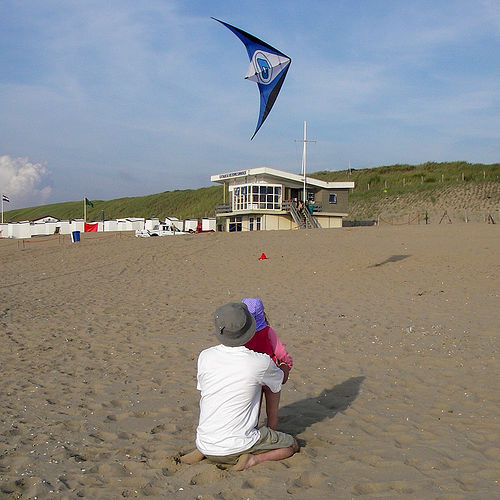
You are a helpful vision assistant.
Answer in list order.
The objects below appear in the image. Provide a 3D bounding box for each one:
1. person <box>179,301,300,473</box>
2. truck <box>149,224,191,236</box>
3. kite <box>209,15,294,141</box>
[{"bbox_3d":[-0.083,1.290,5.080,0.923,1.606,0.475,-5,6,-16],"label":"person"},{"bbox_3d":[-7.530,-1.852,47.435,2.493,0.840,5.279,-3,4,-11],"label":"truck"},{"bbox_3d":[0.200,-2.649,8.323,0.868,1.629,0.440,-2,6,11],"label":"kite"}]
